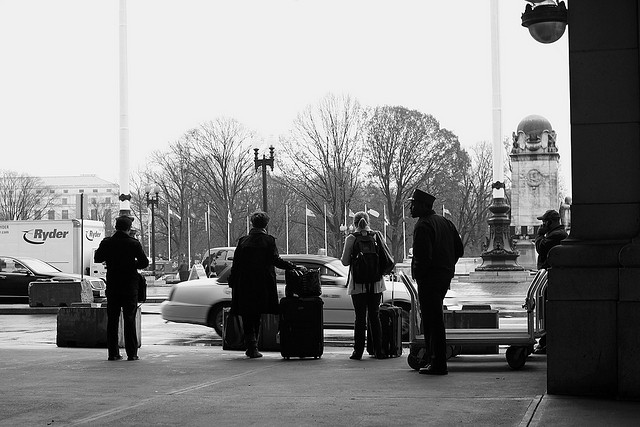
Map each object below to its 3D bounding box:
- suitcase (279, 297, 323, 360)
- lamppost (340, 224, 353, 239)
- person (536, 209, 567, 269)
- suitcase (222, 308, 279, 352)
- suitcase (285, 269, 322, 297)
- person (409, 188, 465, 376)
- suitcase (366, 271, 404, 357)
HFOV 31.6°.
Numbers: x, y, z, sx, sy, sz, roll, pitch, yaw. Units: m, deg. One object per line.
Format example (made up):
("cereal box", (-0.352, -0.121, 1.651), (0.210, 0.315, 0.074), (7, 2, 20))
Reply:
("suitcase", (-0.317, 1.863, 18.360), (0.697, 0.987, 0.220), (0, -4, -6))
("lamppost", (1.190, 0.943, 57.232), (0.635, 0.578, 0.267), (-2, 3, -4))
("person", (3.988, 0.422, 19.187), (0.537, 1.138, 0.554), (0, -1, 2))
("suitcase", (-1.211, 1.775, 19.840), (1.400, 0.905, 0.726), (0, -2, 12))
("suitcase", (-0.291, 1.139, 18.595), (0.617, 0.549, 0.453), (-6, -2, 1))
("person", (1.769, 0.941, 16.576), (0.930, 2.496, 0.838), (0, -1, -4))
("suitcase", (1.077, 1.623, 18.799), (0.646, 1.359, 0.626), (-1, 3, 6))
